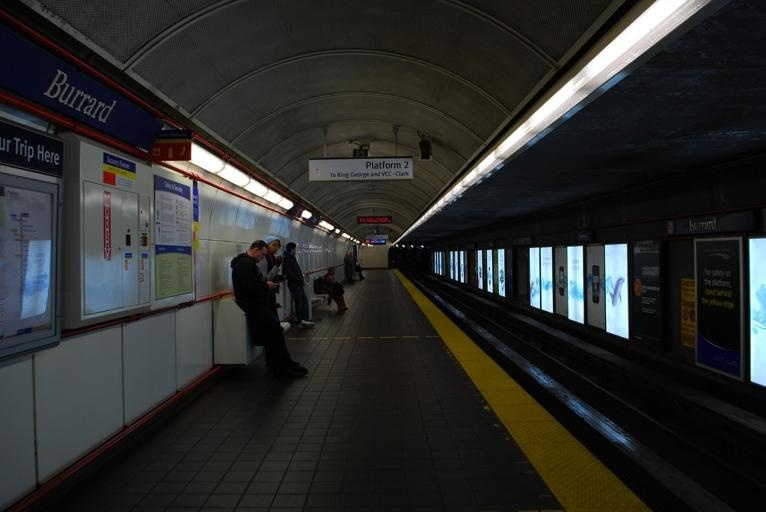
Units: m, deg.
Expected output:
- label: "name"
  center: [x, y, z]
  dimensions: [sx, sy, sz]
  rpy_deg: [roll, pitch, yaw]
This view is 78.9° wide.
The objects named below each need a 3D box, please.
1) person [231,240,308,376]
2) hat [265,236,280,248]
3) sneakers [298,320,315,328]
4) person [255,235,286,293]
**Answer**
- label: "person"
  center: [-1.922, 0.901, 7.586]
  dimensions: [0.833, 2.328, 0.907]
  rpy_deg: [-12, 0, 3]
- label: "hat"
  center: [-2.282, -0.288, 9.533]
  dimensions: [0.247, 0.301, 0.298]
  rpy_deg: [2, -5, -26]
- label: "sneakers"
  center: [-1.857, 1.679, 11.455]
  dimensions: [0.417, 0.170, 0.154]
  rpy_deg: [-2, 7, 21]
- label: "person"
  center: [-2.203, 0.168, 9.028]
  dimensions: [0.460, 0.479, 1.301]
  rpy_deg: [-4, -27, -4]
